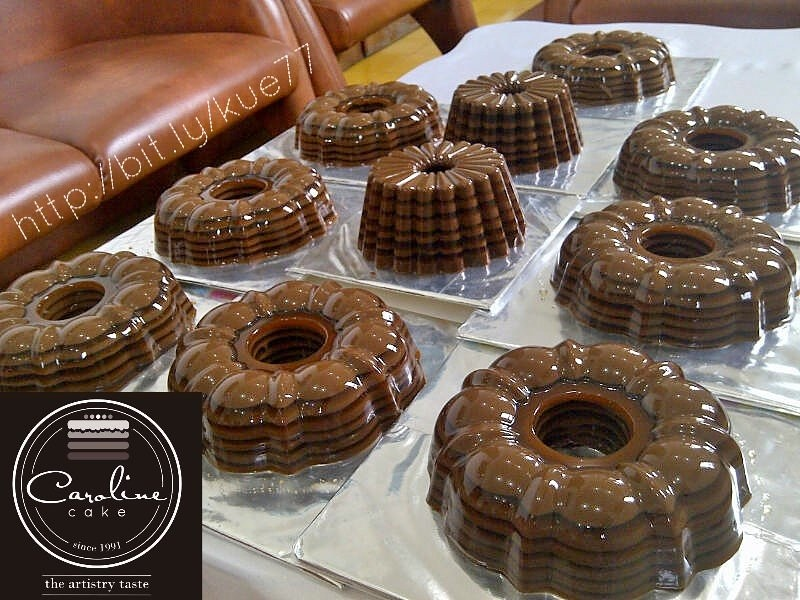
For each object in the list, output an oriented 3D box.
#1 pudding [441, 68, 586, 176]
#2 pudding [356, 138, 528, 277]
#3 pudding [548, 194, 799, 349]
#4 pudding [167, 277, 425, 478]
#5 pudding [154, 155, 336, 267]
[{"bbox_3d":[0.282,-0.419,1.739,0.282,0.128,0.279,5,44,11],"label":"pudding"},{"bbox_3d":[0.081,-0.192,1.442,0.294,0.139,0.290,-8,41,-4],"label":"pudding"},{"bbox_3d":[0.462,-0.056,1.221,0.317,0.104,0.308,-16,34,-20],"label":"pudding"},{"bbox_3d":[-0.191,0.105,1.114,0.322,0.097,0.317,23,42,36],"label":"pudding"},{"bbox_3d":[-0.326,-0.254,1.519,0.306,0.100,0.283,-26,37,-38],"label":"pudding"}]
